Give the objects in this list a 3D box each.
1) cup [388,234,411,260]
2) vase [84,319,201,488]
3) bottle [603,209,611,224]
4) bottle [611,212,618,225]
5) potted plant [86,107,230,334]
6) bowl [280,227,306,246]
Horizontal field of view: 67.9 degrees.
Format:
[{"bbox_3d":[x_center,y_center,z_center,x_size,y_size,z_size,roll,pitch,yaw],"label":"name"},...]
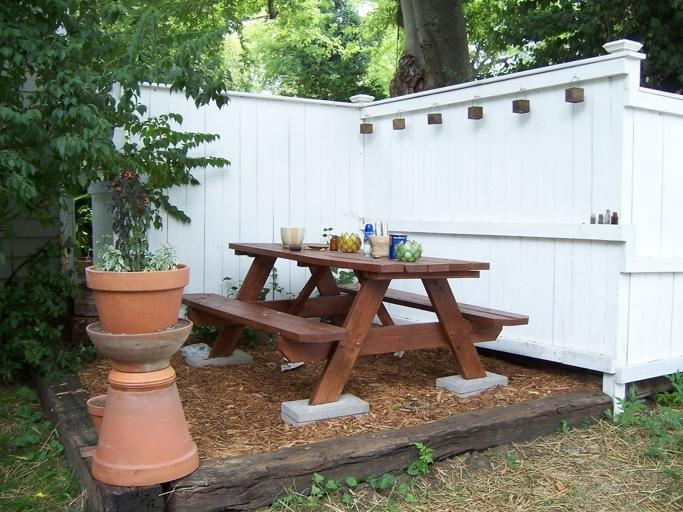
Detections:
[{"bbox_3d":[0.406,-0.062,3.611,0.125,0.167,0.114,0,7,0],"label":"cup"},{"bbox_3d":[-0.990,0.722,2.531,0.523,0.710,0.363,-1,7,-13],"label":"vase"},{"bbox_3d":[1.961,-0.289,3.737,0.039,0.102,0.071,1,7,9],"label":"bottle"},{"bbox_3d":[1.984,-0.273,3.685,0.041,0.095,0.073,4,8,26],"label":"bottle"},{"bbox_3d":[-1.043,-0.193,2.893,0.744,1.177,0.638,3,3,30],"label":"potted plant"},{"bbox_3d":[-0.413,-0.167,4.369,0.180,0.124,0.161,0,2,8],"label":"bowl"}]
